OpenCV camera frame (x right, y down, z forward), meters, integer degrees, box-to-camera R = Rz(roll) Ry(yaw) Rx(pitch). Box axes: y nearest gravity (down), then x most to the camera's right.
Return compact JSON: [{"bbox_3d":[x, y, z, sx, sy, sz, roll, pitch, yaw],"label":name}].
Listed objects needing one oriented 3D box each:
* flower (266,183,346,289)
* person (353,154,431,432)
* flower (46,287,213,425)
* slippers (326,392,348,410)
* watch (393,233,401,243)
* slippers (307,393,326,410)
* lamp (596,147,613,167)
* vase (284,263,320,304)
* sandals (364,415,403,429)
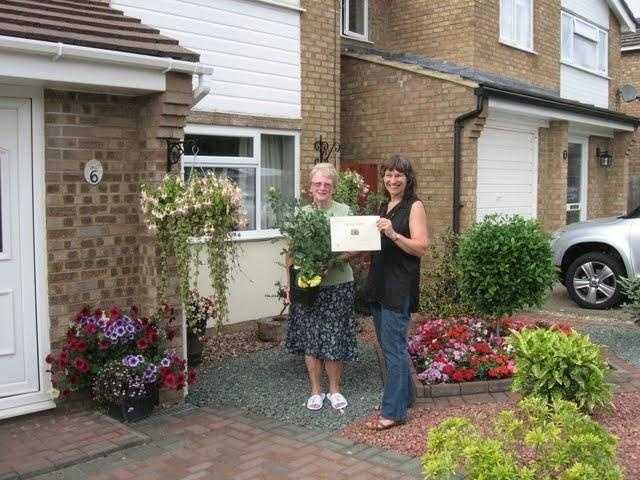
[{"bbox_3d":[-0.094,-0.005,5.133,0.776,0.911,0.543,0,5,4],"label":"flower"},{"bbox_3d":[0.693,0.445,4.946,0.608,2.462,0.602,0,5,2],"label":"person"},{"bbox_3d":[-1.878,1.126,5.065,1.129,0.852,0.981,2,0,-43],"label":"flower"},{"bbox_3d":[0.182,1.588,5.330,0.211,0.131,0.313,-1,6,-7],"label":"slippers"},{"bbox_3d":[0.672,-0.032,4.666,0.041,0.071,0.064,1,0,-4],"label":"watch"},{"bbox_3d":[-0.052,1.605,5.271,0.170,0.115,0.146,-2,5,-13],"label":"slippers"},{"bbox_3d":[8.442,-2.447,15.751,0.250,0.537,1.043,3,7,39],"label":"lamp"},{"bbox_3d":[-0.175,0.415,5.137,0.289,0.452,0.309,1,0,8],"label":"vase"},{"bbox_3d":[0.572,1.621,4.820,0.279,0.083,0.132,3,-4,-19],"label":"sandals"}]
